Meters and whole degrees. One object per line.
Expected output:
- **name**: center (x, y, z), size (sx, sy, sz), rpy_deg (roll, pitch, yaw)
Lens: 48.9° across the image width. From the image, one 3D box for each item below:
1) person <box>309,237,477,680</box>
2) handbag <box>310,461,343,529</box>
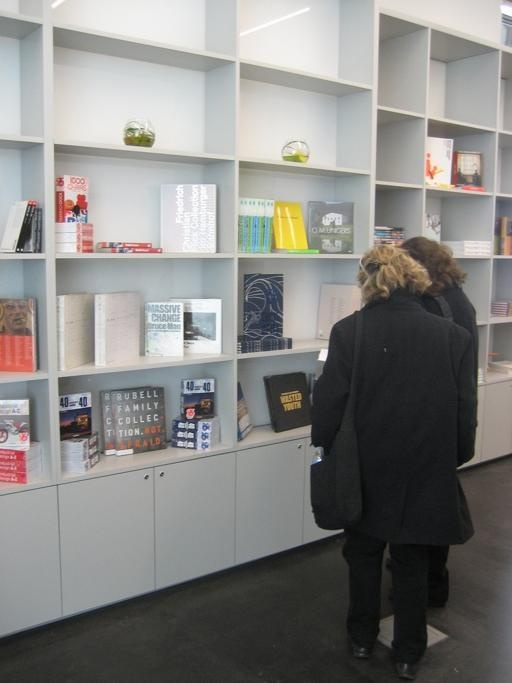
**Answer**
- **person**: center (0.461, 0.429, 1.945), size (0.555, 1.514, 0.329), rpy_deg (2, 4, 19)
- **handbag**: center (0.238, 0.539, 1.961), size (0.074, 0.224, 0.159), rpy_deg (-3, -11, -2)
